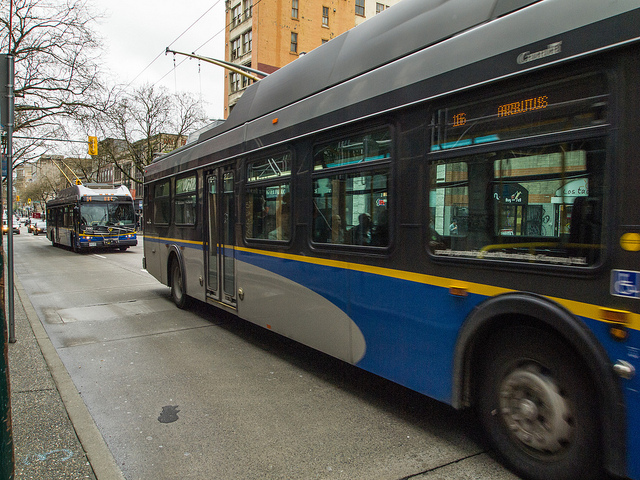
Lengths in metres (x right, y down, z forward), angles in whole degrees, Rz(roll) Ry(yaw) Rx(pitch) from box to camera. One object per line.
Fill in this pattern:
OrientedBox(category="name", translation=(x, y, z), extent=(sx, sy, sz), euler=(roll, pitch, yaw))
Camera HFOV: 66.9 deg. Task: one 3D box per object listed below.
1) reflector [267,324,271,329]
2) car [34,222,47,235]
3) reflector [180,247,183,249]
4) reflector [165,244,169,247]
OrientedBox(category="reflector", translation=(-0.668, 1.134, 6.379), extent=(0.022, 0.092, 0.093), euler=(1, 0, -45))
OrientedBox(category="car", translation=(-31.741, -1.285, 54.928), extent=(1.475, 1.402, 2.780), euler=(0, -5, -42))
OrientedBox(category="reflector", translation=(-2.615, 0.145, 9.159), extent=(0.068, 0.043, 0.076), euler=(2, -2, 5))
OrientedBox(category="reflector", translation=(-3.128, 0.113, 9.925), extent=(0.053, 0.050, 0.056), euler=(-5, 8, -33))
